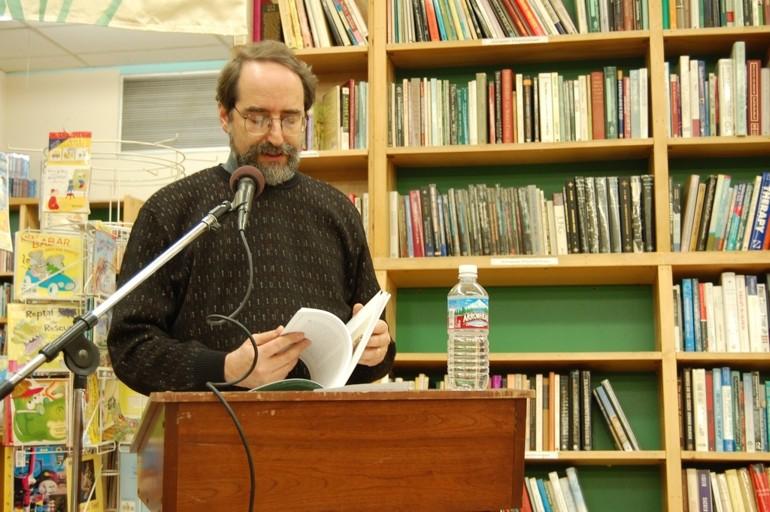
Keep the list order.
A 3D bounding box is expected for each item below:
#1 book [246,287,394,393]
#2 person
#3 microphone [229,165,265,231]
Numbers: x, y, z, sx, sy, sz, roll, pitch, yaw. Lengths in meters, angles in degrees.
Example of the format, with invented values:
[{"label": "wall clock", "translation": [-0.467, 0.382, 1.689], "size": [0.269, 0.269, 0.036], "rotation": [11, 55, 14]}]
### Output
[{"label": "book", "translation": [-0.202, 0.287, 3.022], "size": [0.399, 0.111, 0.299], "rotation": [-33, -32, 8]}, {"label": "person", "translation": [-0.476, -0.054, 3.443], "size": [1.210, 1.493, 0.805], "rotation": [-4, 5, -37]}, {"label": "microphone", "translation": [-0.490, -0.206, 3.127], "size": [0.098, 0.250, 0.104], "rotation": [7, -45, -7]}]
